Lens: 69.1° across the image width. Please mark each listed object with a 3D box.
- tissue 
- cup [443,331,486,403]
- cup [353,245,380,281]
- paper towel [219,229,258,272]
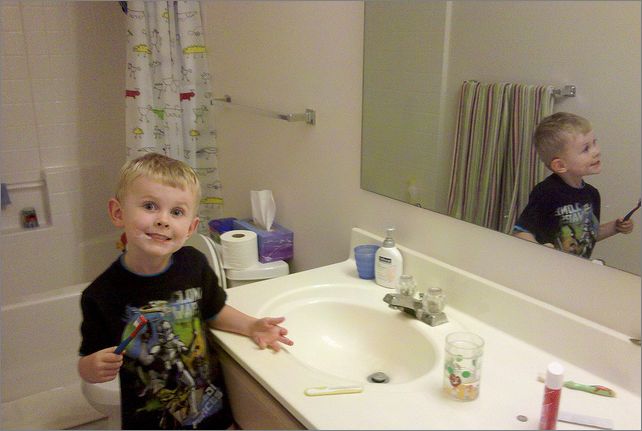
[{"bbox_3d":[-0.268,0.051,2.270,0.226,0.345,0.269,-7,21,-28],"label":"tissue "},{"bbox_3d":[0.375,0.405,1.269,0.091,0.174,0.113,0,13,-5],"label":"cup"},{"bbox_3d":[0.175,0.182,1.799,0.118,0.121,0.119,0,-6,0],"label":"cup"},{"bbox_3d":[-0.389,0.147,2.192,0.169,0.169,0.150,-4,18,-17],"label":"paper towel"}]
